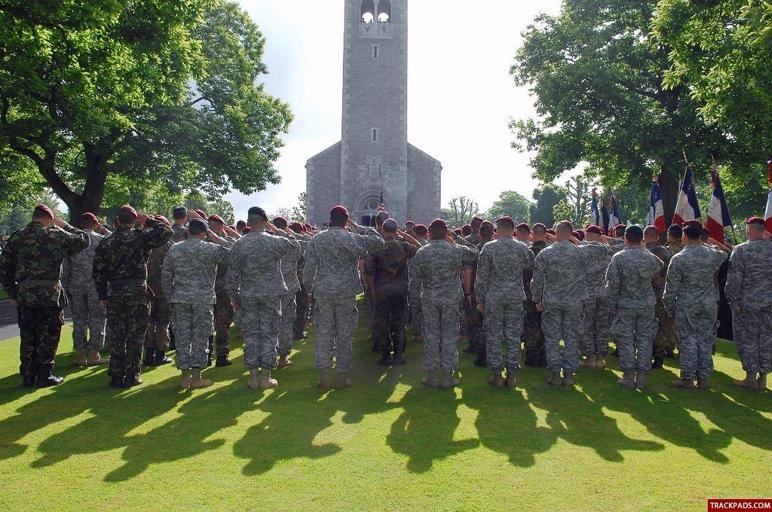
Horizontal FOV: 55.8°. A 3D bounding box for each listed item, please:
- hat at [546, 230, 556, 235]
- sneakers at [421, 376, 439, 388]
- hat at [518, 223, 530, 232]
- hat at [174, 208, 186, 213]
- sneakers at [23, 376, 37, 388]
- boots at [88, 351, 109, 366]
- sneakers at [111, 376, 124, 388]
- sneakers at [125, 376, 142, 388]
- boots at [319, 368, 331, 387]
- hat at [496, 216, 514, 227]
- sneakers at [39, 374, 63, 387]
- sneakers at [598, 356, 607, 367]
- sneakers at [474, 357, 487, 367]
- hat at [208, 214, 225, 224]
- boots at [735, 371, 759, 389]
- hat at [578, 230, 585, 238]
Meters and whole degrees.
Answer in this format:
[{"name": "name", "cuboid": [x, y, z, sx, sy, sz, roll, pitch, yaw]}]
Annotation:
[{"name": "hat", "cuboid": [4.235, -0.612, 18.798, 0.209, 0.071, 0.244, 3, 4, 10]}, {"name": "sneakers", "cuboid": [1.007, 2.867, 16.494, 0.207, 0.222, 0.398, 0, 6, -30]}, {"name": "hat", "cuboid": [3.251, -0.672, 17.300, 0.454, 0.146, 0.497, 0, -2, 10]}, {"name": "hat", "cuboid": [-4.949, -1.100, 17.464, 0.267, 0.166, 0.435, -1, -2, -20]}, {"name": "sneakers", "cuboid": [-7.986, 2.831, 16.351, 0.335, 0.217, 0.267, 2, 3, -3]}, {"name": "boots", "cuboid": [-7.013, 2.522, 17.737, 0.454, 0.357, 0.171, -9, 50, -42]}, {"name": "sneakers", "cuboid": [-6.023, 2.829, 16.396, 0.345, 0.219, 0.275, 2, 3, 3]}, {"name": "sneakers", "cuboid": [-5.708, 2.849, 16.424, 0.484, 0.228, 0.149, -4, 9, -20]}, {"name": "boots", "cuboid": [-1.386, 2.762, 16.432, 0.244, 0.410, 0.207, -2, -4, -12]}, {"name": "hat", "cuboid": [2.708, -0.821, 16.575, 0.307, 0.235, 0.323, 4, 35, 1]}, {"name": "sneakers", "cuboid": [-7.578, 2.801, 16.470, 0.542, 0.248, 0.211, -7, 21, -23]}, {"name": "sneakers", "cuboid": [5.298, 2.592, 17.785, 0.164, 0.224, 0.415, 2, 9, 23]}, {"name": "sneakers", "cuboid": [2.268, 2.585, 17.760, 0.290, 0.211, 0.260, -6, -10, 28]}, {"name": "hat", "cuboid": [-4.072, -0.876, 17.420, 0.367, 0.099, 0.227, 7, 1, 8]}, {"name": "boots", "cuboid": [8.411, 2.868, 16.735, 0.290, 0.376, 0.602, 1, 6, -40]}, {"name": "hat", "cuboid": [5.322, -0.583, 19.946, 0.234, 0.192, 0.246, -8, -26, 11]}]
